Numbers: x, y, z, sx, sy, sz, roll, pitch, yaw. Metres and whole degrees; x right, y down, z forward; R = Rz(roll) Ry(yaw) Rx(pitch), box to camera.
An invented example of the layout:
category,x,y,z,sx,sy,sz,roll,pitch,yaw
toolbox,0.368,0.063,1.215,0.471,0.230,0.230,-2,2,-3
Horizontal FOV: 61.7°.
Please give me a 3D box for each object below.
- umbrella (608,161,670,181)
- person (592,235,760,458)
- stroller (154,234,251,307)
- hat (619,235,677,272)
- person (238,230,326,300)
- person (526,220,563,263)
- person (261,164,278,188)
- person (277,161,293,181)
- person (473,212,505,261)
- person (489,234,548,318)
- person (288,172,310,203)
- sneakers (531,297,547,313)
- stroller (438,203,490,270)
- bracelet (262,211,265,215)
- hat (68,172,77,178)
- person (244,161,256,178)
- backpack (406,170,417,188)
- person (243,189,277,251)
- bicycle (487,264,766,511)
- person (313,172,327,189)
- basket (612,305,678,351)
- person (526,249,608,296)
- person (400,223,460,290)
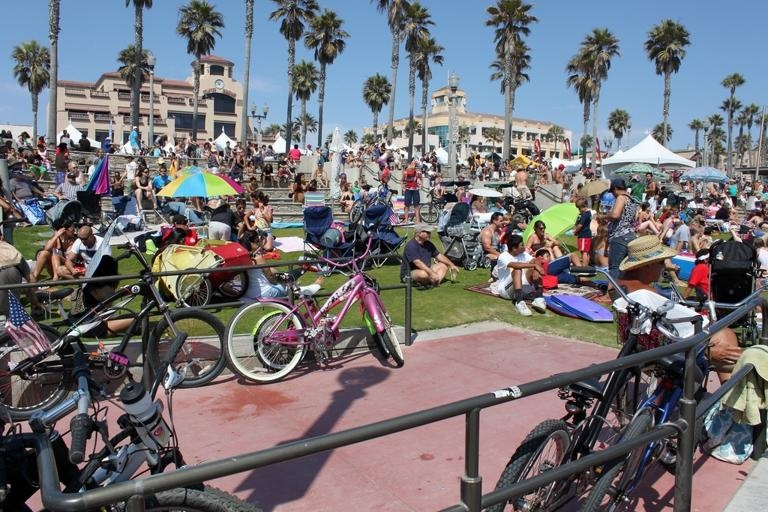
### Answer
category,x,y,z,sx,sy,sz,roll,pitch,yaw
umbrella,10.113,-3.345,25.301,1.406,0.491,1.328,0,0,-9
person,3.209,0.569,6.911,1.051,1.102,1.753,-1,-14,42
stroller,-3.022,0.258,10.523,1.509,0.952,1.099,9,10,24
hat,2.739,-0.072,6.695,0.632,0.238,0.534,-15,10,4
person,-1.824,0.077,11.068,0.713,1.139,1.697,16,17,42
person,3.584,-0.266,14.305,0.866,0.944,0.686,5,17,39
person,-5.134,-3.439,28.114,0.700,1.032,1.183,-4,9,-18
person,-4.762,-3.917,30.015,0.635,0.857,1.470,3,14,11
person,2.638,-0.447,15.279,0.744,1.162,0.815,8,18,20
person,2.593,0.288,12.114,0.723,1.355,1.621,-4,12,-12
person,-3.290,-2.545,24.301,0.513,1.095,2.044,3,6,-7
sneakers,2.823,0.887,11.628,0.144,0.152,0.361,14,-19,7
stroller,1.936,-0.460,15.674,1.389,1.623,1.450,5,-5,-10
bracelet,-3.033,-1.052,15.890,0.080,0.075,0.079,3,4,-7
hat,-9.015,-2.302,18.340,0.205,0.088,0.308,0,6,-14
person,-6.425,-4.101,30.362,0.539,0.751,1.627,3,6,-13
backpack,0.940,-2.574,21.675,0.471,0.614,0.432,3,6,-10
person,-3.081,-0.910,15.668,0.985,1.267,0.840,8,13,18
bicycle,2.343,1.356,5.373,1.348,1.585,2.640,13,14,43
person,-3.001,-3.449,29.692,0.539,0.739,0.795,3,6,-8
basket,2.431,0.670,5.990,0.458,0.289,0.314,31,-8,-20
person,3.658,0.266,13.800,1.779,0.840,1.165,1,0,-22
person,0.905,-0.008,12.884,1.190,1.267,0.987,0,12,-6
